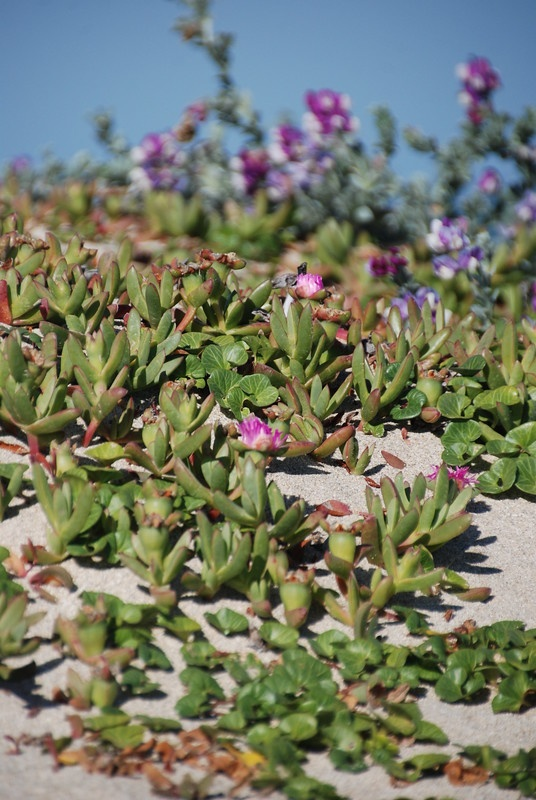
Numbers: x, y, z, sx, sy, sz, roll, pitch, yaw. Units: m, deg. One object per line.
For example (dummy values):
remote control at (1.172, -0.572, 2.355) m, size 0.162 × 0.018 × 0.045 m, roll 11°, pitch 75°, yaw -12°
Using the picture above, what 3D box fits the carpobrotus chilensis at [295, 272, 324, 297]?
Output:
carpobrotus chilensis at (0.196, -0.541, 3.831) m, size 0.131 × 0.118 × 0.109 m, roll 0°, pitch -2°, yaw 31°
